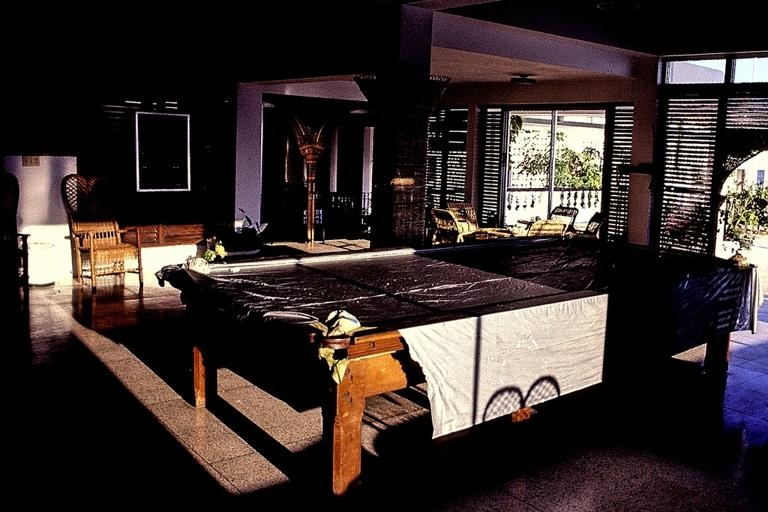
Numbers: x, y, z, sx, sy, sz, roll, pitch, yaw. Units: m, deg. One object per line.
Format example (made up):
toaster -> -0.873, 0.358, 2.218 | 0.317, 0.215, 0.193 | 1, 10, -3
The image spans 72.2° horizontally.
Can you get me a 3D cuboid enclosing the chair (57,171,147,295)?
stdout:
chair -> -4.125, -0.364, 7.750 | 0.943, 1.599, 0.868 | -6, 6, -40
